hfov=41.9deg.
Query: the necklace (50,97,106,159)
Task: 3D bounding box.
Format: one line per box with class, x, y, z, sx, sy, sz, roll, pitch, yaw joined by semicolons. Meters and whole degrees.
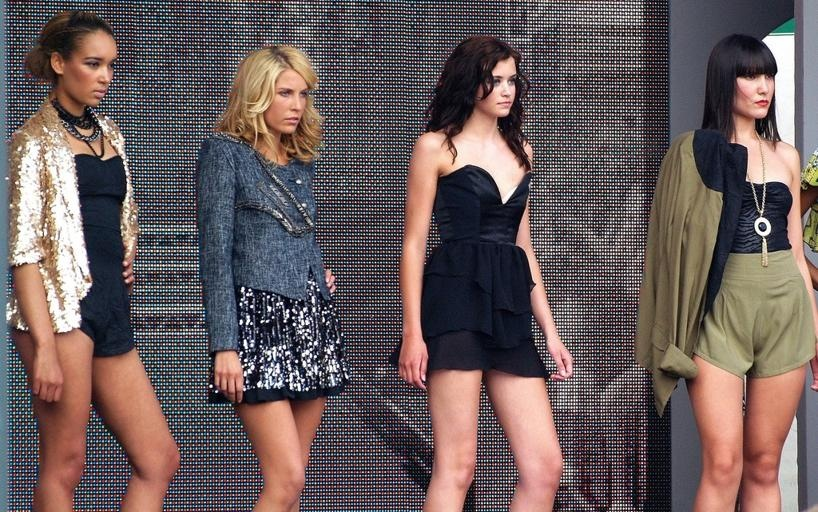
necklace;-1.507;-0.590;4.901;0.061;0.260;0.208;-27;-13;30
